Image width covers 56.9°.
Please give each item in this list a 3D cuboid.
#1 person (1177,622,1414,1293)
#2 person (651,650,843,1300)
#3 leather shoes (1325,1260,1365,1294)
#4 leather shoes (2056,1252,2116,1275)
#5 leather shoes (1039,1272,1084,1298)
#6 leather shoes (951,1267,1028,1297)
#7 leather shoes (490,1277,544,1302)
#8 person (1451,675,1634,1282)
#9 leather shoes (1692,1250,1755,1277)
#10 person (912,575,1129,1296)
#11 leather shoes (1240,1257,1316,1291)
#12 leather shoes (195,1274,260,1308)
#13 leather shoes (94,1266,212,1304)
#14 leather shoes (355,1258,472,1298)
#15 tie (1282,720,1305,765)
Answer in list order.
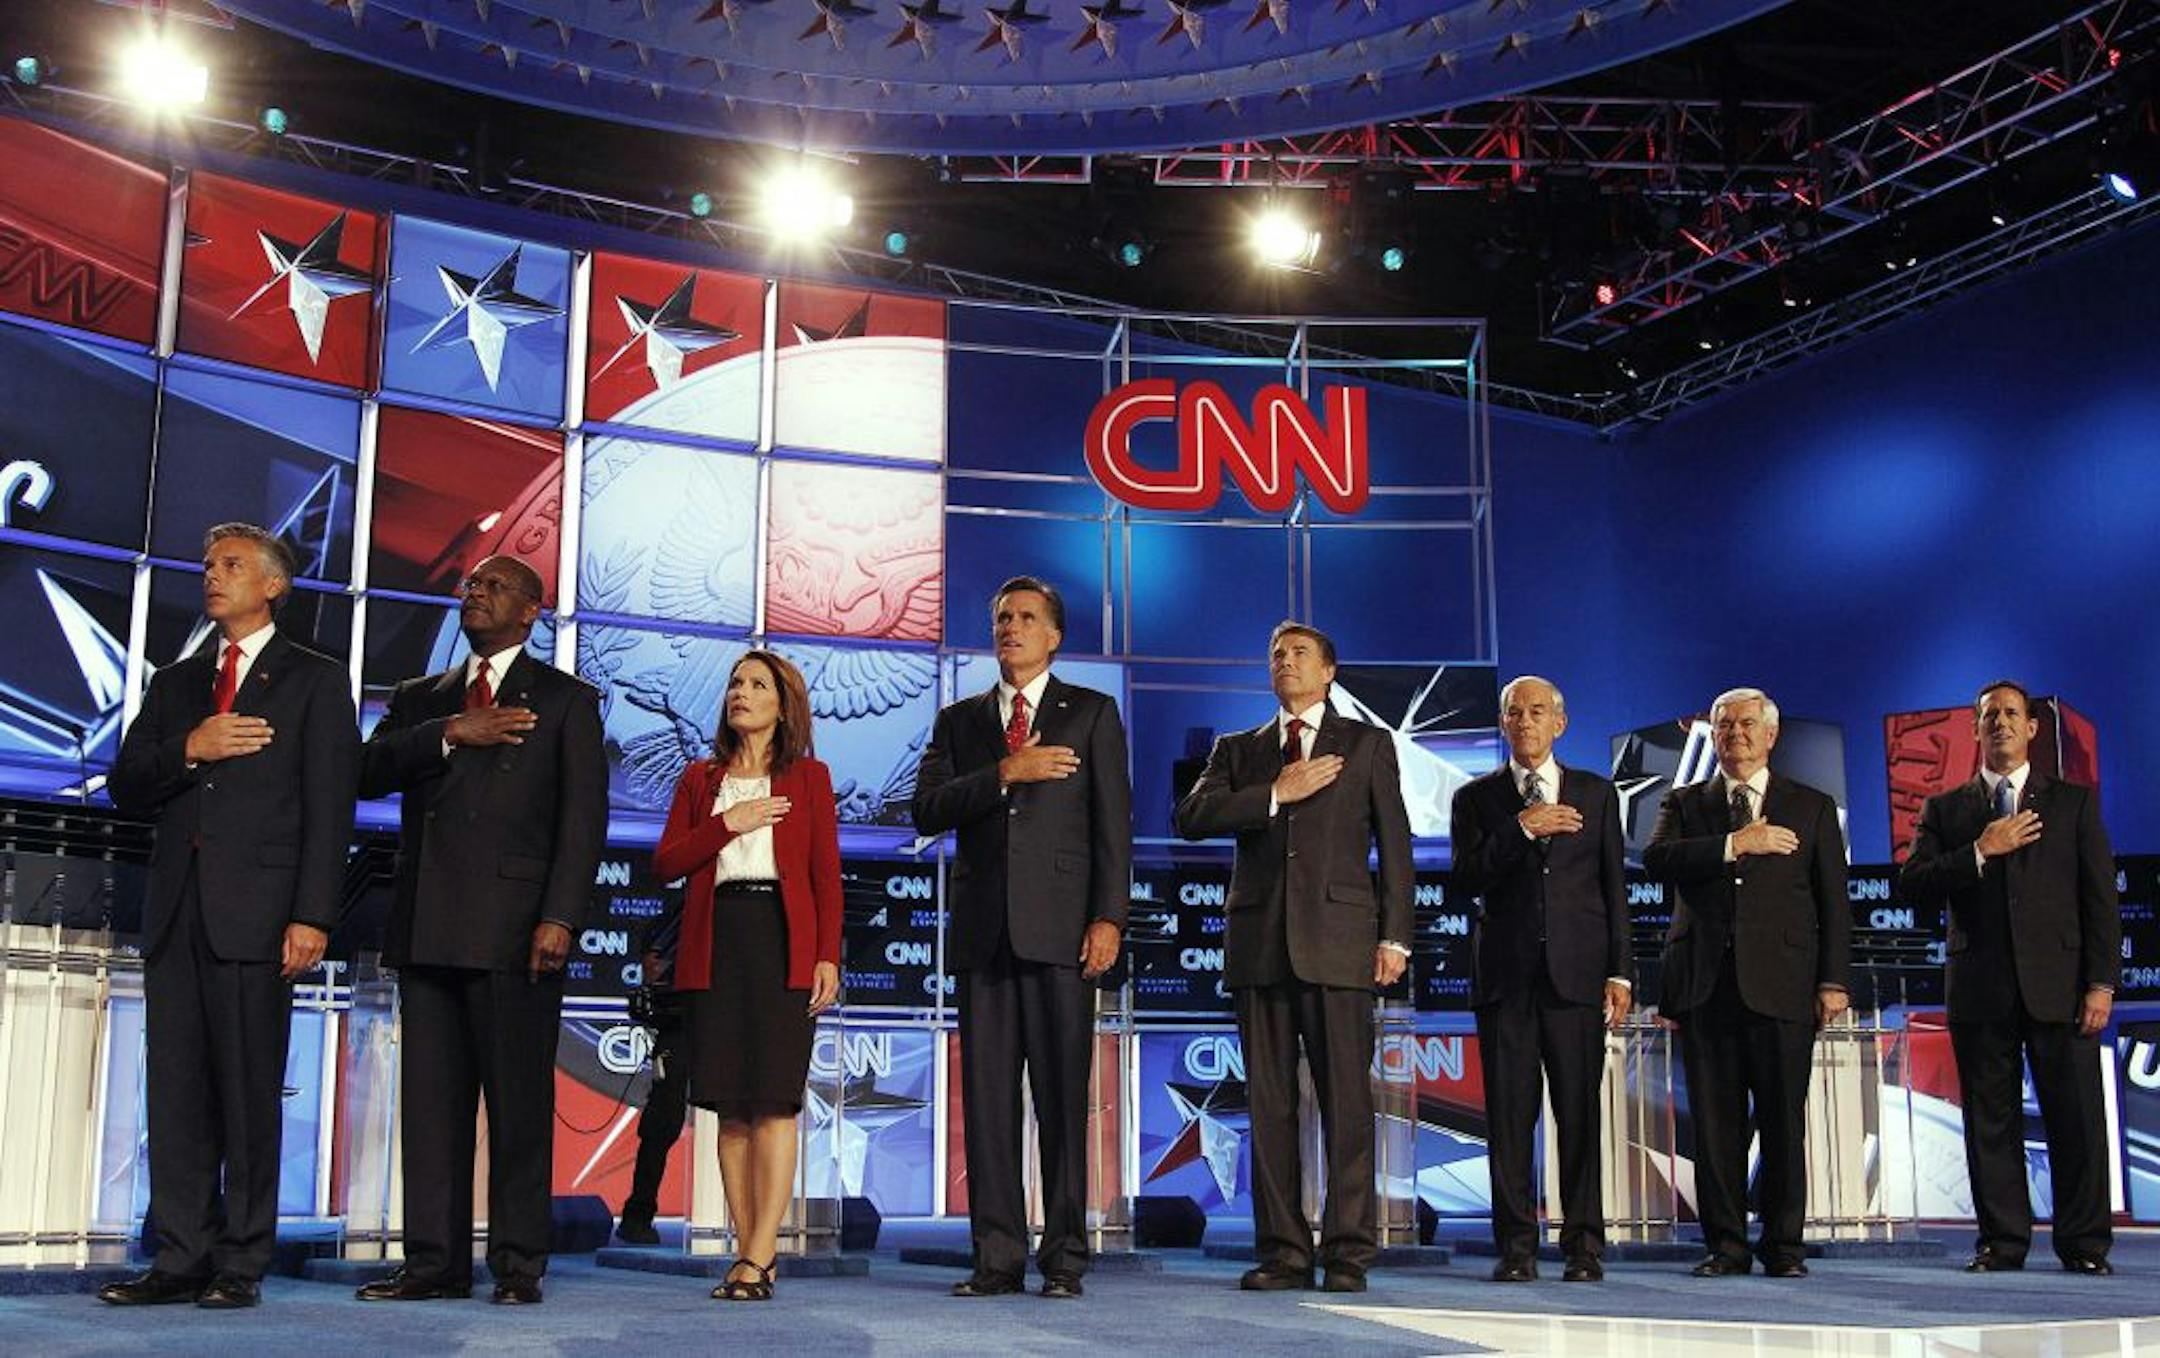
[{"bbox_3d":[1.067,1.304,9.635,0.975,3.151,0.775,11,-21,-29],"label":"person"},{"bbox_3d":[-1.488,1.319,9.092,0.679,2.890,0.729,-11,-21,32],"label":"person"},{"bbox_3d":[1.224,2.795,9.293,0.215,0.114,0.204,-1,-18,5],"label":"leather shoes"},{"bbox_3d":[5.180,3.015,10.330,0.292,0.115,0.112,-8,-12,16],"label":"leather shoes"},{"bbox_3d":[-0.087,2.755,9.079,0.112,0.066,0.178,1,-5,6],"label":"leather shoes"},{"bbox_3d":[-0.419,2.770,9.159,0.321,0.114,0.114,8,-18,-16],"label":"leather shoes"},{"bbox_3d":[-2.475,2.675,8.747,0.211,0.085,0.098,-6,-15,31],"label":"leather shoes"},{"bbox_3d":[2.375,1.502,10.179,0.891,3.013,0.770,1,-18,-1],"label":"person"},{"bbox_3d":[3.234,2.973,10.112,0.356,0.128,0.114,13,-23,-20],"label":"leather shoes"},{"bbox_3d":[-0.244,1.182,9.354,0.869,3.273,0.804,17,-24,-39],"label":"person"},{"bbox_3d":[0.938,2.814,9.429,0.359,0.143,0.127,6,-20,-10],"label":"leather shoes"},{"bbox_3d":[-3.655,2.625,8.543,0.110,0.106,0.258,-3,-27,3],"label":"leather shoes"},{"bbox_3d":[-3.981,2.629,8.606,0.467,0.176,0.164,14,-22,-24],"label":"leather shoes"},{"bbox_3d":[-2.954,2.674,8.837,0.444,0.174,0.184,9,-18,-13],"label":"leather shoes"},{"bbox_3d":[1.046,0.298,9.795,0.078,0.247,0.060,1,-18,5],"label":"tie"}]
